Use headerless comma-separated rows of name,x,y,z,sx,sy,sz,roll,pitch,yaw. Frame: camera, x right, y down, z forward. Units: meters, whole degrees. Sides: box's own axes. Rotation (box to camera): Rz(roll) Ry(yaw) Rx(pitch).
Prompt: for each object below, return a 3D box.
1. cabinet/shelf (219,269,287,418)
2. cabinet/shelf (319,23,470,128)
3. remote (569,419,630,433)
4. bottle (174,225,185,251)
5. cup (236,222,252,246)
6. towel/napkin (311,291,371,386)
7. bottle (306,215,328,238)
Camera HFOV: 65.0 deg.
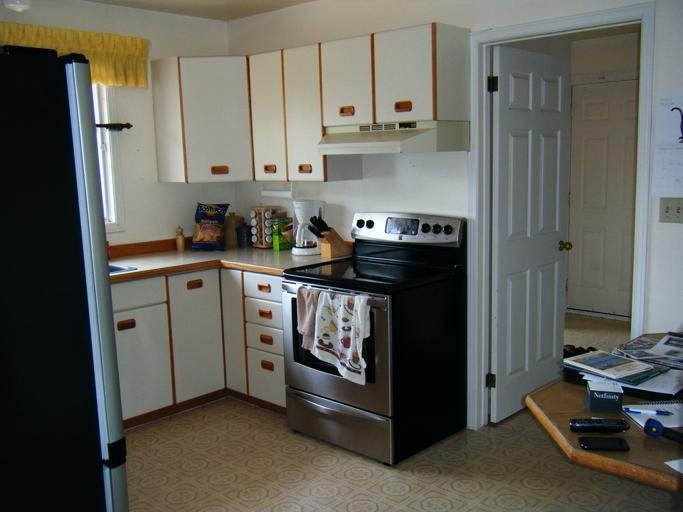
cabinet/shelf,-0.740,0.627,3.985,0.496,0.891,0.642,-10,-22,36
cabinet/shelf,0.322,-1.140,3.447,0.879,0.538,0.460,7,14,35
remote,0.837,0.551,1.737,0.134,0.033,0.070,-1,9,6
bottle,-1.308,-0.147,4.346,0.077,0.182,0.163,-5,11,-17
cup,-0.812,-0.172,4.449,0.093,0.180,0.138,-8,13,-31
towel/napkin,0.006,0.454,3.083,0.497,0.515,0.073,14,20,40
bottle,-0.168,-0.217,3.935,0.156,0.158,0.180,-2,11,-3
